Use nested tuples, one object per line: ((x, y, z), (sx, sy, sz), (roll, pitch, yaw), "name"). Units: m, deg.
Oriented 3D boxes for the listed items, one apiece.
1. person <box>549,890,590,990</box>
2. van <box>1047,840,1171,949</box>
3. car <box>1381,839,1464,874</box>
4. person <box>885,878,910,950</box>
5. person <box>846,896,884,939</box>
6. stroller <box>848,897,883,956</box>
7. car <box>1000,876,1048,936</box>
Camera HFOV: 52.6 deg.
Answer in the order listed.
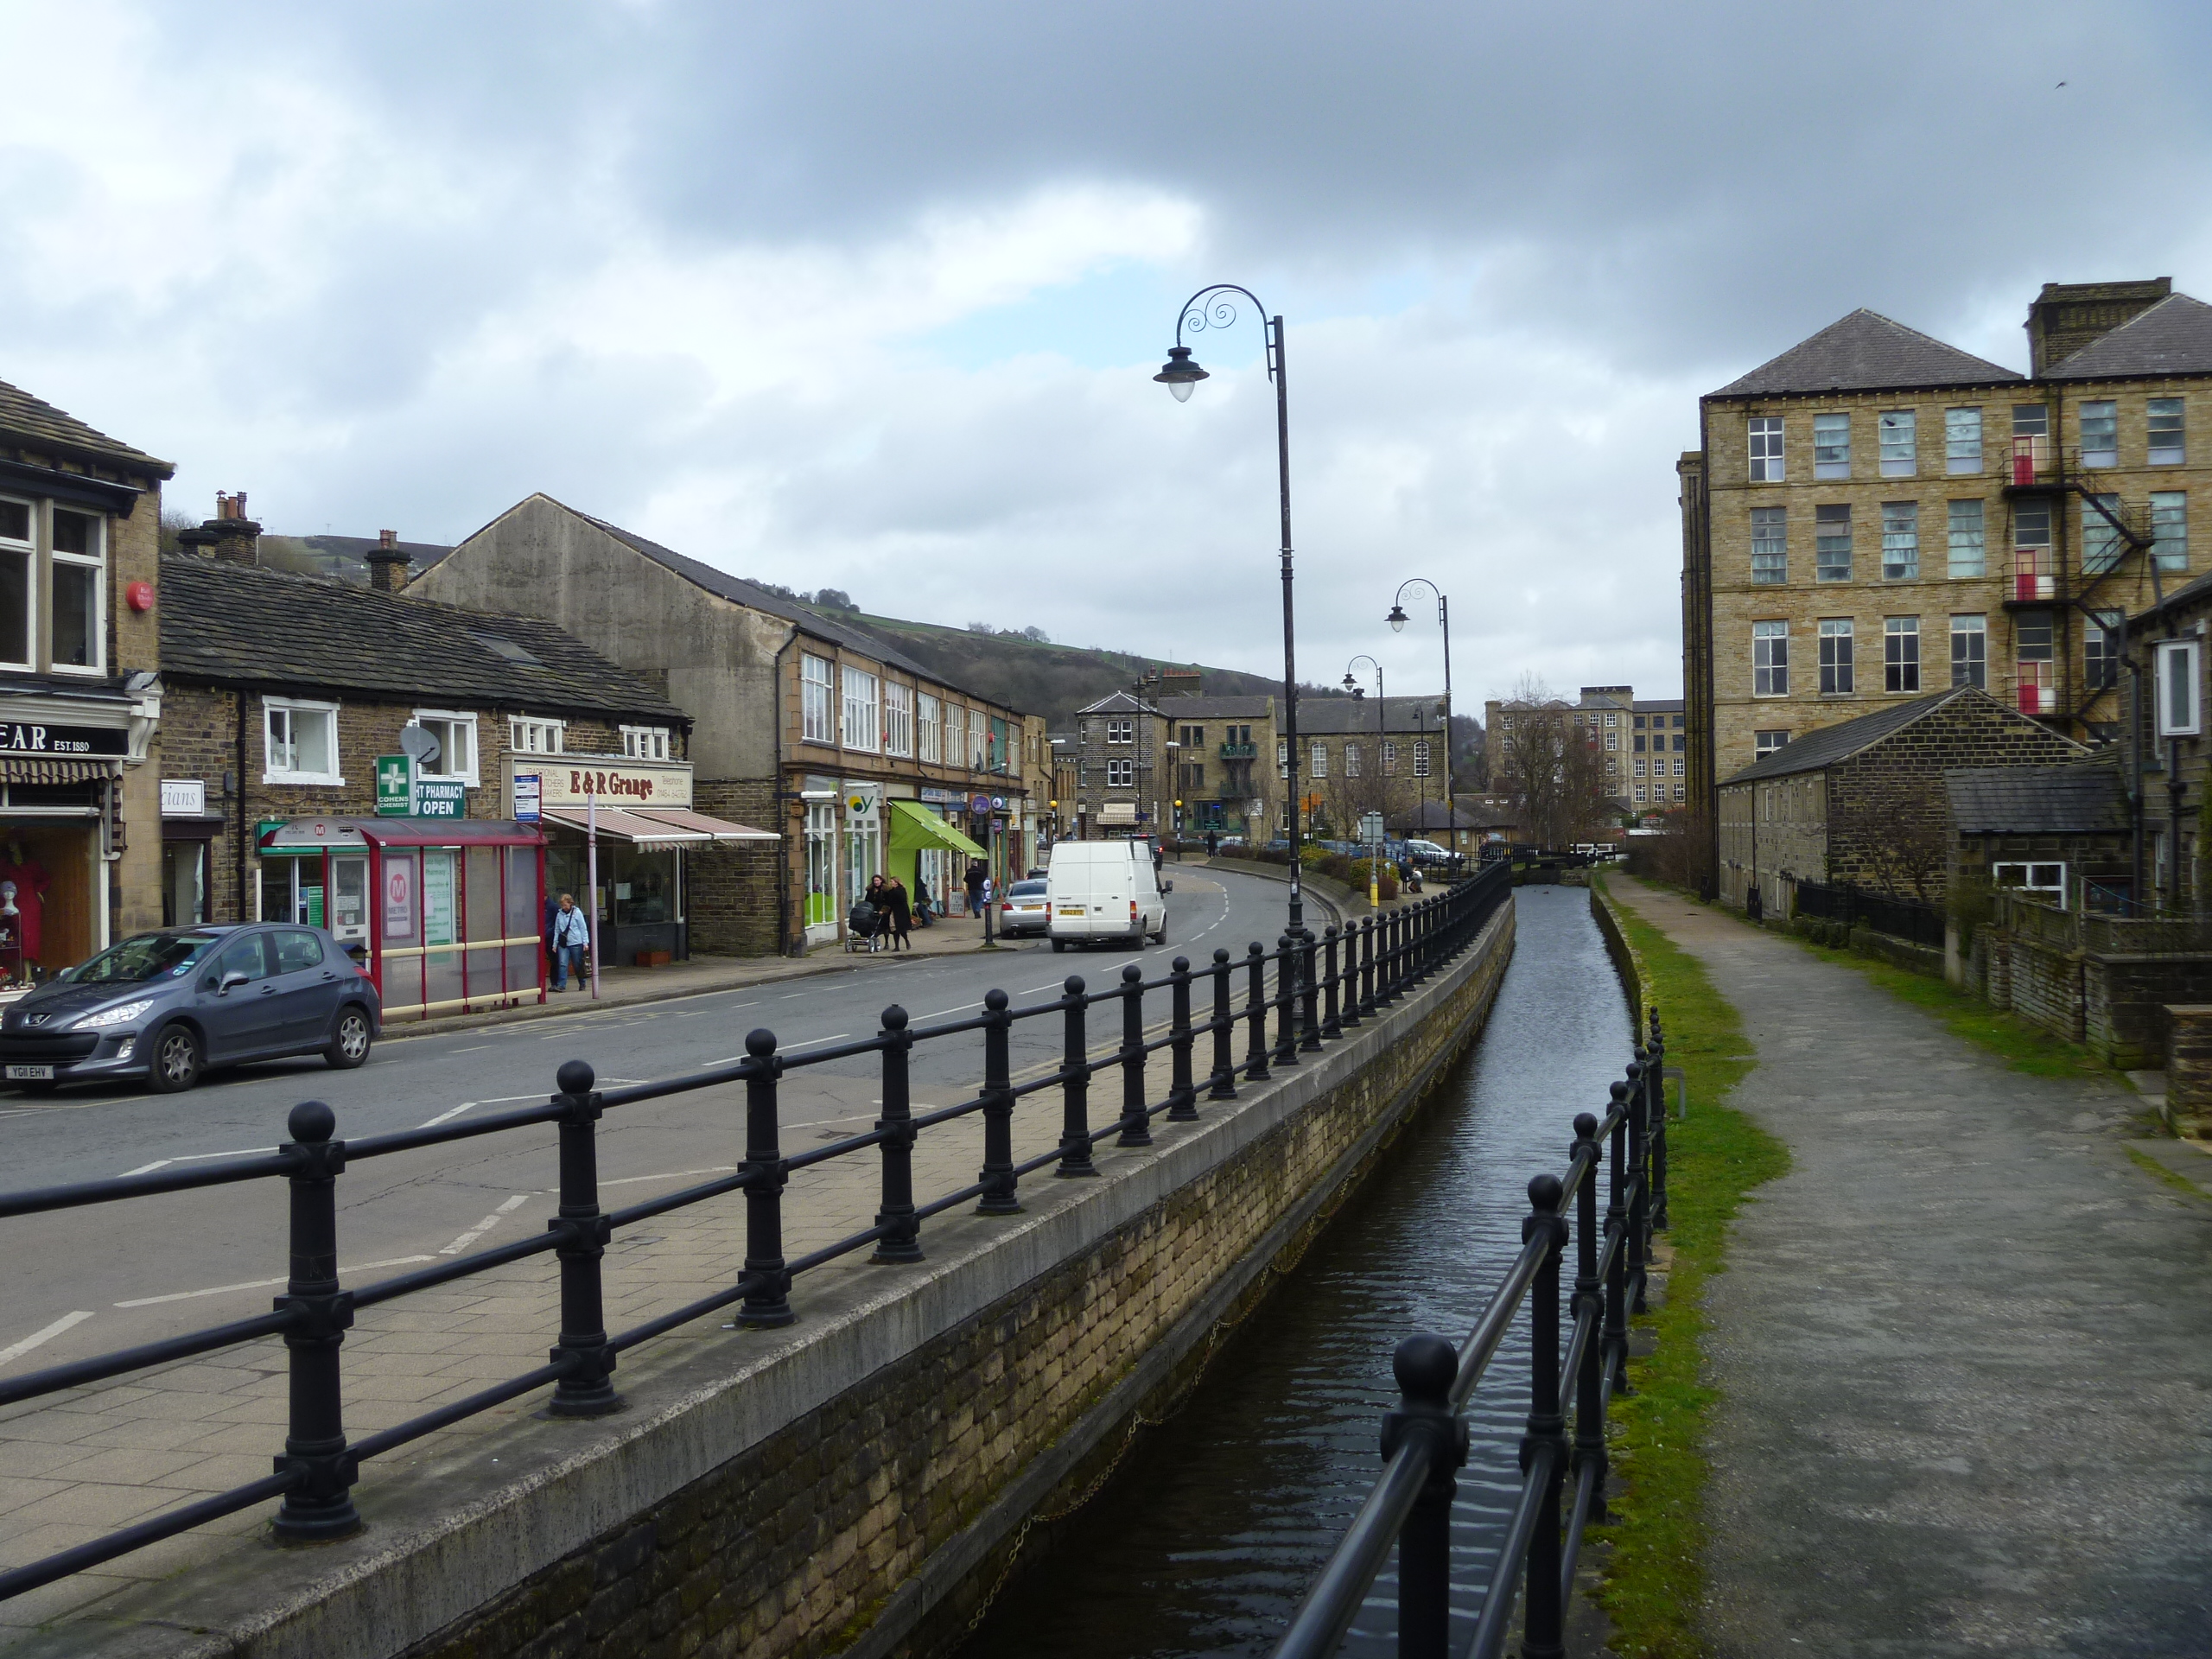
((-8.256, 1.745, 34.417), (0.609, 1.471, 1.392), (-6, 2, -15), "person")
((0.064, 1.101, 42.191), (1.343, 1.425, 2.667), (-1, 5, 11), "van")
((13.957, 0.891, 97.568), (2.673, 1.839, 4.137), (1, -5, 7), "car")
((-4.152, 1.735, 44.553), (0.401, 1.317, 1.886), (-6, 1, -8), "person")
((-4.709, 1.694, 43.884), (0.630, 0.879, 1.421), (-6, 2, 8), "person")
((-4.698, 1.877, 43.807), (0.676, 1.146, 1.036), (-1, -2, 9), "stroller")
((-1.713, 1.712, 47.522), (0.927, 1.170, 2.154), (-6, 2, -2), "car")
